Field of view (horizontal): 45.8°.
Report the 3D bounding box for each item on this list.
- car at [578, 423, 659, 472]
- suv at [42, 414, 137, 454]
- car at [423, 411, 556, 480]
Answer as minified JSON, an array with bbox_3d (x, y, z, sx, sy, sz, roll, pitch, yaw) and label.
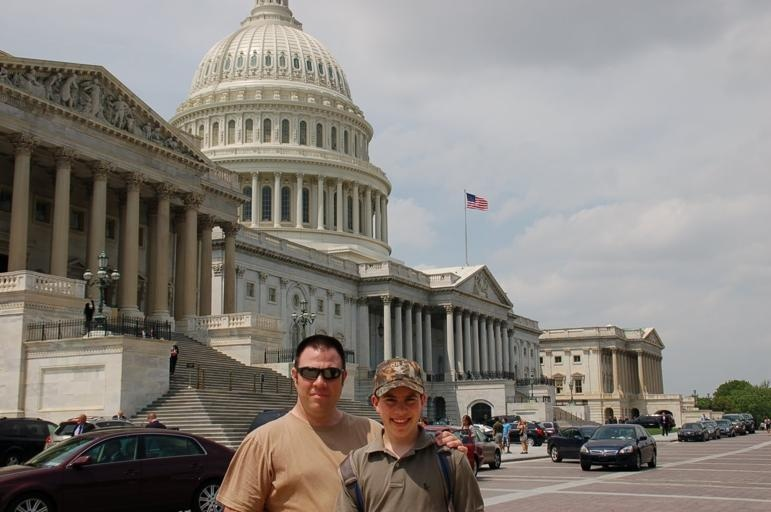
[{"bbox_3d":[10.257,8.467,40.677,2.343,2.101,3.545,-13,-19,38],"label":"car"},{"bbox_3d":[-11.804,6.503,36.109,2.243,1.520,4.259,-4,-14,14],"label":"suv"},{"bbox_3d":[3.859,8.265,40.906,3.599,2.768,7.906,-8,-16,31],"label":"car"}]
